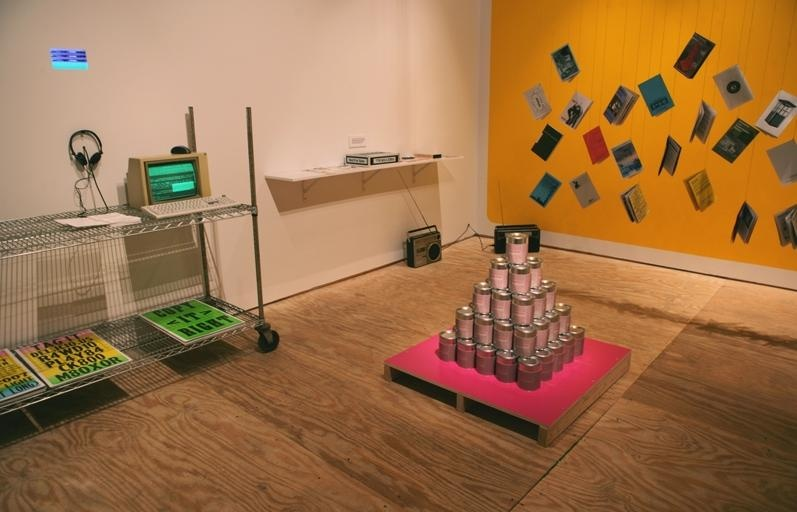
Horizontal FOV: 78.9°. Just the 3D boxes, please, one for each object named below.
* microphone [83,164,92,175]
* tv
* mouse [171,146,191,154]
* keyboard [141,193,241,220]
[{"bbox_3d":[-2.203,-0.620,3.453,0.046,0.061,0.015,-18,23,-9],"label":"microphone"},{"bbox_3d":[-1.603,-0.579,3.653,0.541,0.360,0.379,-5,22,1],"label":"tv"},{"bbox_3d":[-1.628,-0.801,3.663,0.155,0.049,0.085,5,15,21],"label":"mouse"},{"bbox_3d":[-1.480,-0.363,3.488,0.613,0.087,0.248,-18,28,-34],"label":"keyboard"}]
